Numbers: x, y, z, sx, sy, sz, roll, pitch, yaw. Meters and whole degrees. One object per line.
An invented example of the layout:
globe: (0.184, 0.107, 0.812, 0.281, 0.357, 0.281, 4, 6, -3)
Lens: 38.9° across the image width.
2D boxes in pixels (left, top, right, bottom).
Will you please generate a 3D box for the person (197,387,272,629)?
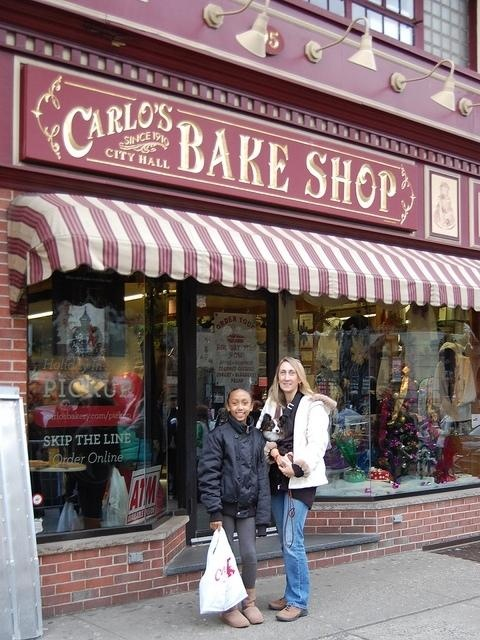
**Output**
person: (-0.017, 1.246, 4.606, 0.554, 1.569, 0.239, 1, -5, -30)

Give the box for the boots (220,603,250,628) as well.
boots: (-0.026, 1.982, 4.573, 0.085, 0.166, 0.231, 5, -12, -41)

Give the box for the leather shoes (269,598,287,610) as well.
leather shoes: (0.259, 2.019, 4.862, 0.156, 0.071, 0.059, 5, 0, -20)

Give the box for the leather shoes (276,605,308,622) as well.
leather shoes: (0.377, 1.988, 4.659, 0.243, 0.107, 0.090, 12, 9, -35)

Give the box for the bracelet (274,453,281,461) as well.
bracelet: (0.258, 0.939, 4.668, 0.026, 0.036, 0.042, -1, -26, -6)
